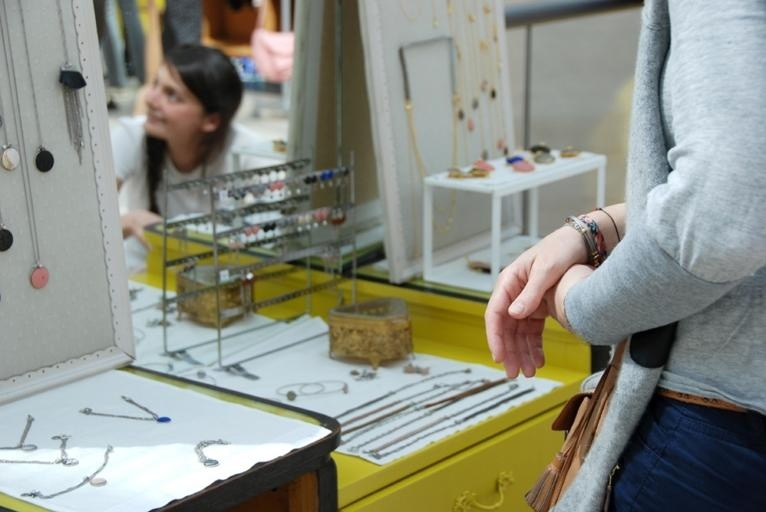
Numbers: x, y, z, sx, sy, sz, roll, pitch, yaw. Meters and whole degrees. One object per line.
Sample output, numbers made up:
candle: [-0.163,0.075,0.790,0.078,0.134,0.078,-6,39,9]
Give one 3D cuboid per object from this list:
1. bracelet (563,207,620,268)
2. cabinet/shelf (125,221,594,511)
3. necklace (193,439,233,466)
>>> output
bracelet: [0.281,-0.020,0.959,0.064,0.076,0.023,18,-37,-27]
cabinet/shelf: [0.080,-0.041,1.618,0.587,0.397,0.889,14,24,36]
necklace: [-0.280,0.313,1.144,0.050,0.007,0.077,-5,16,4]
